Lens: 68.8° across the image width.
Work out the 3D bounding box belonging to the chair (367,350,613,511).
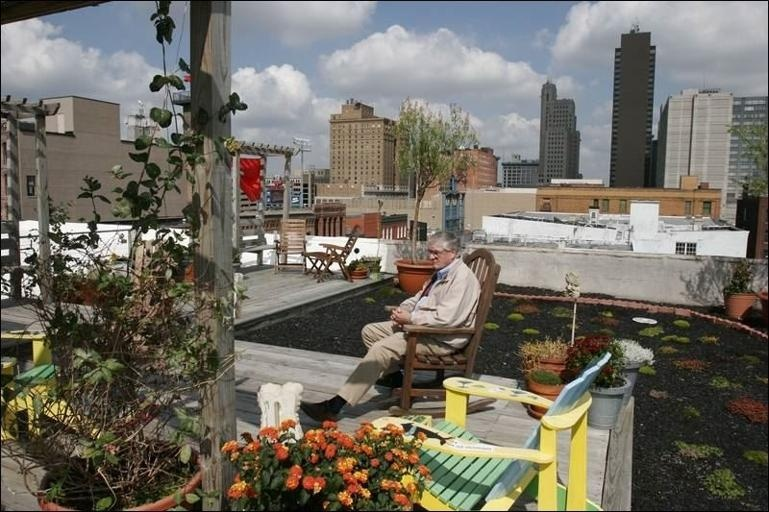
[{"bbox_3d":[0.721,1.339,4.158,1.451,1.280,1.139,8,9,36],"label":"chair"}]

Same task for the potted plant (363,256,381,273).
[{"bbox_3d":[-0.310,0.200,13.910,0.443,0.401,0.352,-1,0,-10],"label":"potted plant"}]

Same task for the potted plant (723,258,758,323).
[{"bbox_3d":[6.814,0.694,10.793,0.506,0.931,0.479,2,2,-31],"label":"potted plant"}]

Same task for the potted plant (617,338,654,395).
[{"bbox_3d":[2.635,1.199,5.925,0.325,0.373,0.327,8,-20,-38],"label":"potted plant"}]

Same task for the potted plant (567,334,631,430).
[{"bbox_3d":[1.938,1.264,5.482,0.648,0.892,0.590,-13,-12,34],"label":"potted plant"}]

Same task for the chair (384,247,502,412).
[{"bbox_3d":[0.530,0.682,5.577,1.204,1.521,1.152,-5,13,-28],"label":"chair"}]

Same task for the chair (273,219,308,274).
[{"bbox_3d":[-2.355,-0.266,14.263,0.960,1.352,1.097,2,2,-28],"label":"chair"}]

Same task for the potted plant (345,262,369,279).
[{"bbox_3d":[-0.634,0.356,13.164,0.392,0.284,0.396,0,0,-10],"label":"potted plant"}]

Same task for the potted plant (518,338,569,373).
[{"bbox_3d":[1.765,1.196,6.491,0.586,0.442,0.604,8,-2,11],"label":"potted plant"}]

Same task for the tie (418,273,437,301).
[{"bbox_3d":[0.435,0.323,5.664,0.167,0.240,0.085,13,4,42],"label":"tie"}]
